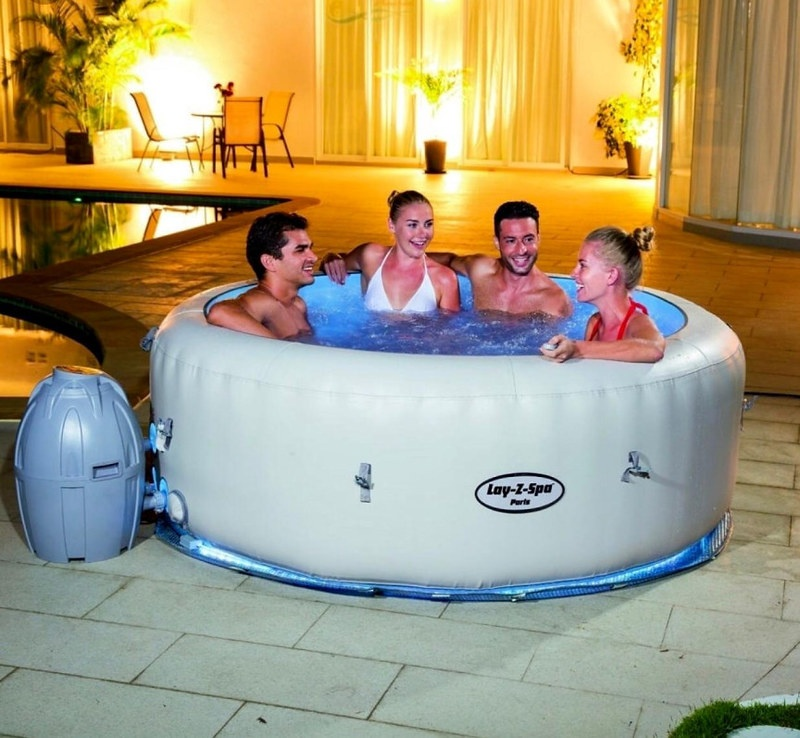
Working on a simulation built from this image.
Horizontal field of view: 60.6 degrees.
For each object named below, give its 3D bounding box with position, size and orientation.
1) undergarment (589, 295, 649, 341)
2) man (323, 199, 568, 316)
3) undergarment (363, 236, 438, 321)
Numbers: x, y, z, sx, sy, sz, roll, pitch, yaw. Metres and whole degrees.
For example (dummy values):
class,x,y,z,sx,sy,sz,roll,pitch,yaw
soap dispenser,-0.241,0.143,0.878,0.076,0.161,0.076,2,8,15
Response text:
class,x,y,z,sx,sy,sz,roll,pitch,yaw
undergarment,0.627,-0.141,2.040,0.176,0.138,0.168,2,12,-20
man,0.203,-0.463,3.071,0.930,0.330,0.611,8,11,12
undergarment,0.077,-0.392,3.249,0.336,0.273,0.180,-22,2,-39
